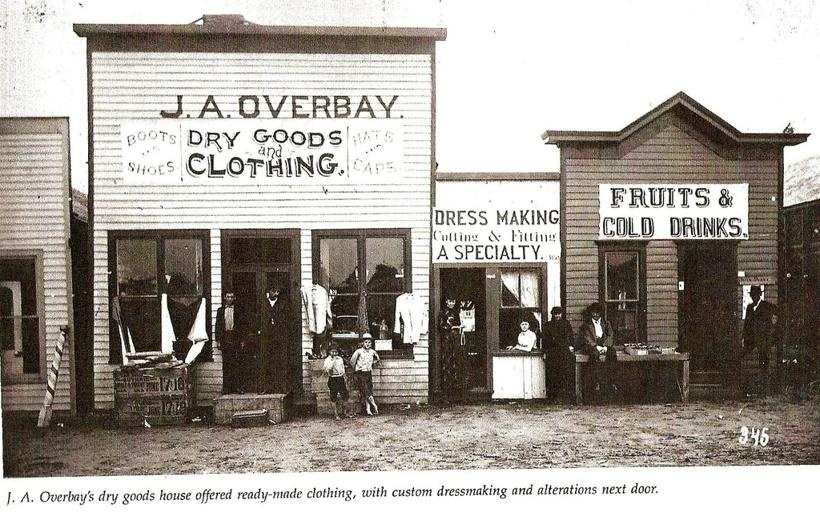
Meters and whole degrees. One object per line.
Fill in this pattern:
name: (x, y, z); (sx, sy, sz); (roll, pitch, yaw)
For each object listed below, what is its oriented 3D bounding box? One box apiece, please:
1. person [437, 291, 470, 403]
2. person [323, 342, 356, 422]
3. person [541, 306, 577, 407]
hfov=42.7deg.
person: (0.837, 1.804, 20.608); (0.546, 2.026, 0.220); (-2, -5, 7)
person: (-1.371, 2.416, 20.241); (0.560, 1.431, 0.296); (-1, -5, -4)
person: (2.905, 1.920, 20.575); (0.628, 1.848, 0.185); (-2, -5, 6)
